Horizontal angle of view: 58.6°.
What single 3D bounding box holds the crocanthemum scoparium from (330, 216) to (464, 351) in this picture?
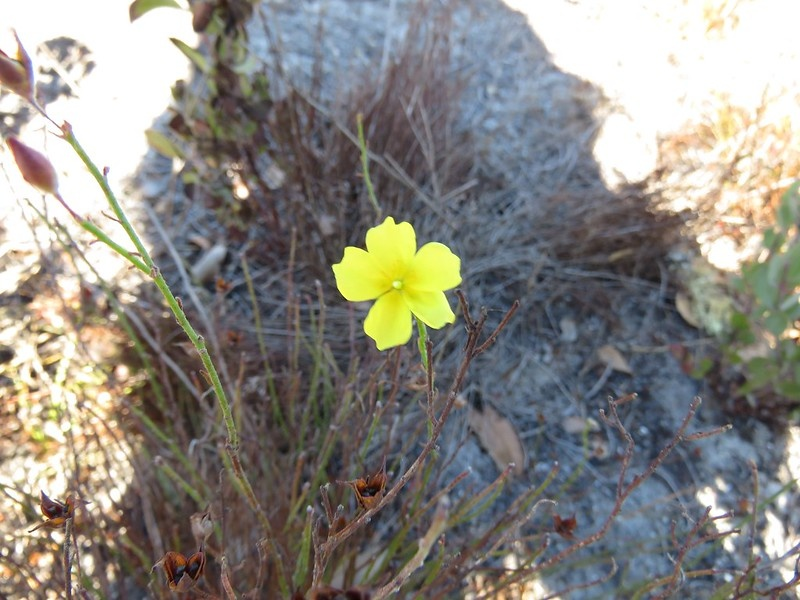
[{"bbox_3d":[0.012,-0.046,2.543,0.428,0.150,0.503,28,-38,4],"label":"crocanthemum scoparium"}]
